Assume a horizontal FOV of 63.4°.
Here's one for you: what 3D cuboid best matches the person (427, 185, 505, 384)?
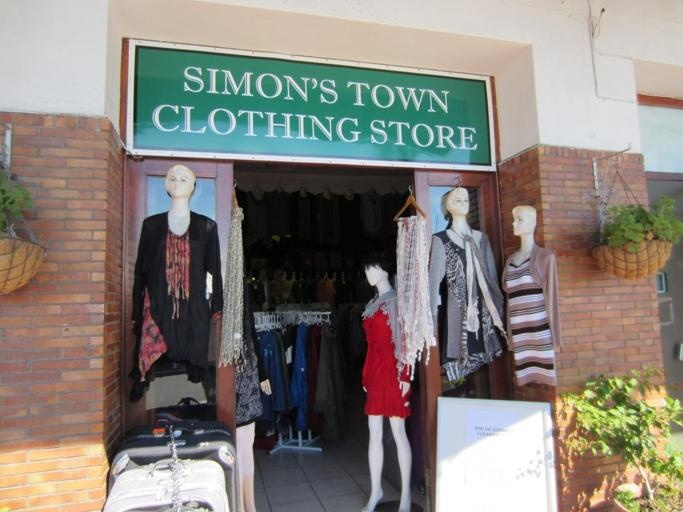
[{"bbox_3d":[1.046,0.204,4.701,0.697,1.607,0.214,-3,-3,-12],"label":"person"}]

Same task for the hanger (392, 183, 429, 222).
[{"bbox_3d":[0.643,-0.489,5.161,0.023,0.351,0.480,-1,2,-21],"label":"hanger"}]
